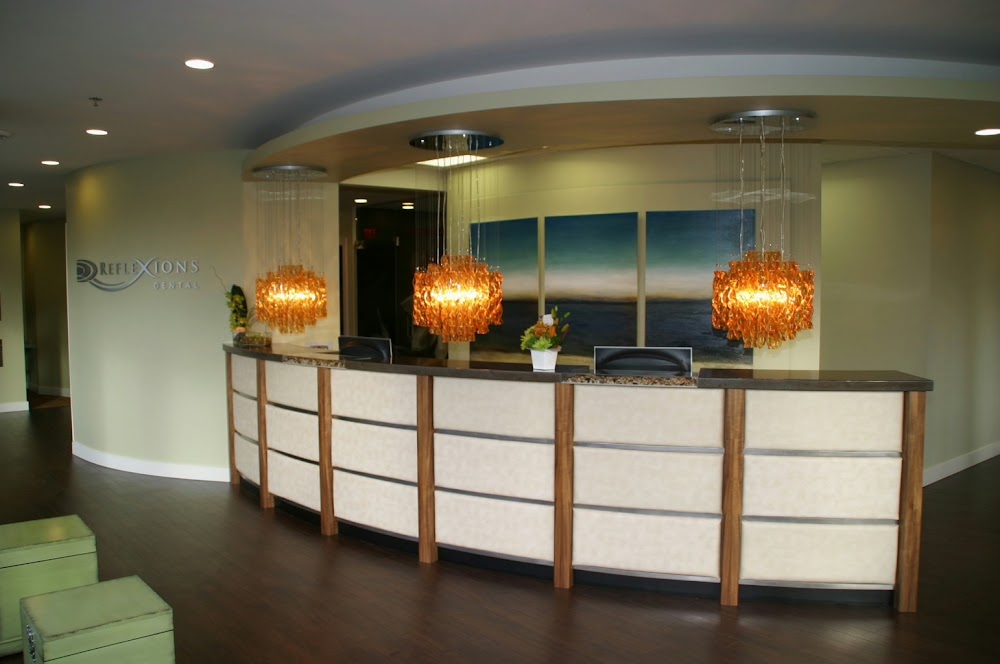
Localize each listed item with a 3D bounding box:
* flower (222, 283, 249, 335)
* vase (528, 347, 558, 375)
[{"bbox_3d":[-3.053,-0.282,8.528,0.232,0.533,0.500,-4,11,-20],"label":"flower"},{"bbox_3d":[0.351,0.239,6.084,0.209,0.146,0.208,3,3,31],"label":"vase"}]
